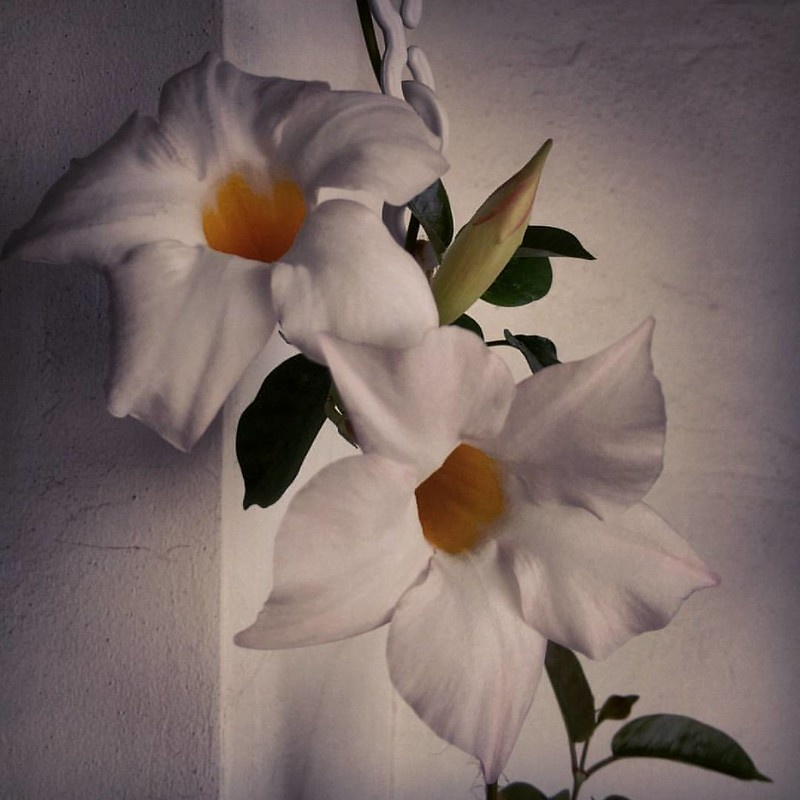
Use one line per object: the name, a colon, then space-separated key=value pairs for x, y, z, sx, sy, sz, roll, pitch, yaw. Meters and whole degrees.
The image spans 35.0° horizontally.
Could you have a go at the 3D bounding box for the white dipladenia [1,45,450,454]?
white dipladenia: x=-0.106 y=-0.094 z=0.739 sx=0.226 sy=0.086 sz=0.276 roll=-13 pitch=74 yaw=6

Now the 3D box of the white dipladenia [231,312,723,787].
white dipladenia: x=0.044 y=0.088 z=0.765 sx=0.295 sy=0.100 sz=0.277 roll=-14 pitch=84 yaw=-2
